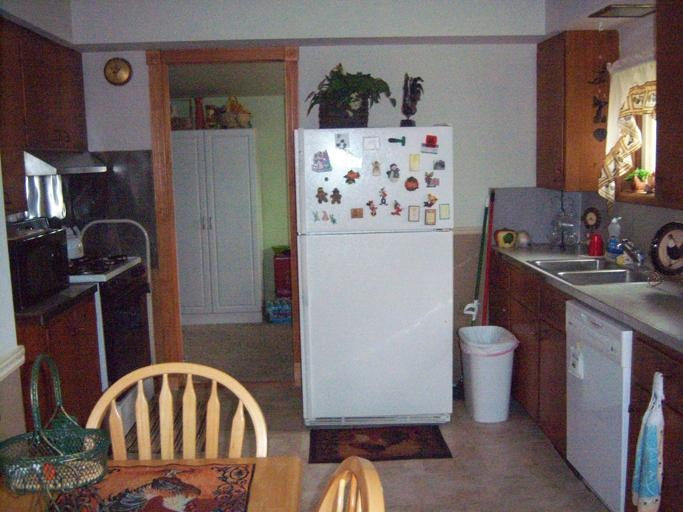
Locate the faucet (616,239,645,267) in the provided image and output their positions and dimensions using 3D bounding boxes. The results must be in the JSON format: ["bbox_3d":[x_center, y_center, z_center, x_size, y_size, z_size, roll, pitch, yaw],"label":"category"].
[{"bbox_3d":[1.802,-0.020,3.641,0.073,0.093,0.252,2,17,7],"label":"faucet"}]

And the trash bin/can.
[{"bbox_3d":[0.957,0.794,3.984,0.372,0.640,0.389,2,9,0],"label":"trash bin/can"}]

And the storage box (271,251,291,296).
[{"bbox_3d":[-0.628,0.207,6.261,0.176,0.466,0.397,-3,13,-7],"label":"storage box"}]

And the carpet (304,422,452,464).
[{"bbox_3d":[0.236,1.183,3.691,0.887,0.022,0.434,-1,13,0],"label":"carpet"}]

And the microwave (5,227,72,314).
[{"bbox_3d":[-1.731,0.038,3.334,0.143,0.416,0.587,-3,13,-7],"label":"microwave"}]

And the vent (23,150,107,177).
[{"bbox_3d":[-1.760,-0.622,3.796,0.258,0.158,0.716,-2,13,-1],"label":"vent"}]

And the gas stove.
[{"bbox_3d":[-1.522,0.142,3.856,0.211,0.126,0.510,0,8,-3],"label":"gas stove"}]

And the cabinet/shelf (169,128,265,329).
[{"bbox_3d":[-1.259,-0.314,6.213,0.791,2.027,0.495,1,11,-1],"label":"cabinet/shelf"}]

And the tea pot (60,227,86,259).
[{"bbox_3d":[-1.866,-0.096,4.042,0.161,0.286,0.200,-2,9,-2],"label":"tea pot"}]

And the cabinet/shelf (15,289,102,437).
[{"bbox_3d":[-1.582,0.537,3.344,0.438,0.860,0.718,0,10,-8],"label":"cabinet/shelf"}]

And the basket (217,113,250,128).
[{"bbox_3d":[-1.076,-1.386,5.920,0.330,0.167,0.130,-4,13,-13],"label":"basket"}]

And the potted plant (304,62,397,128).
[{"bbox_3d":[0.063,-0.951,3.855,0.534,0.397,0.543,2,5,15],"label":"potted plant"}]

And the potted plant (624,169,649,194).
[{"bbox_3d":[1.862,-0.470,3.633,0.137,0.134,0.139,4,-3,-17],"label":"potted plant"}]
